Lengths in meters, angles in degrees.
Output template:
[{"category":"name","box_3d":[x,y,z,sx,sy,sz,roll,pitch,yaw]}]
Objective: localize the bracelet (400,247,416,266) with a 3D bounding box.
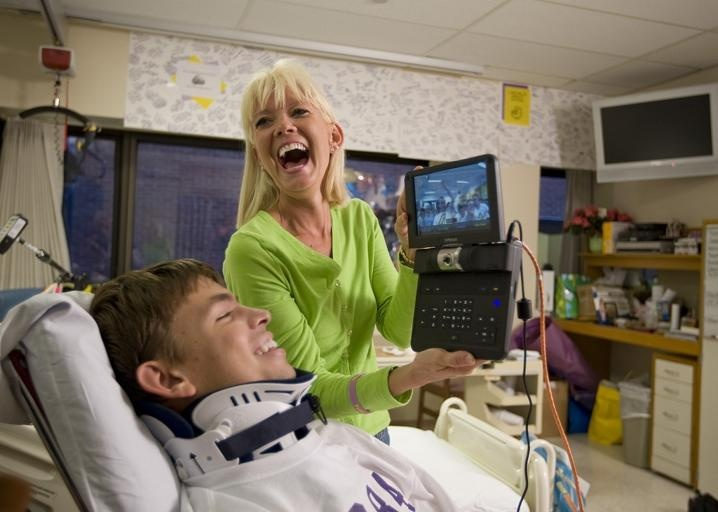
[{"category":"bracelet","box_3d":[0.145,0.002,1.504,0.038,0.022,0.050,19,9,-26]}]

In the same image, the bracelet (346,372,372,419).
[{"category":"bracelet","box_3d":[-0.007,0.368,1.348,0.025,0.088,0.083,-9,36,1]}]
